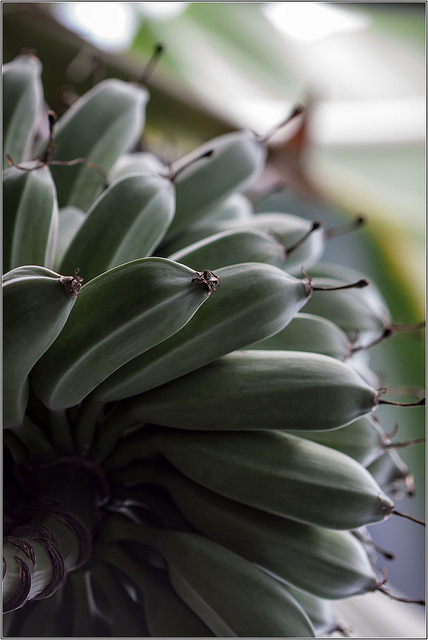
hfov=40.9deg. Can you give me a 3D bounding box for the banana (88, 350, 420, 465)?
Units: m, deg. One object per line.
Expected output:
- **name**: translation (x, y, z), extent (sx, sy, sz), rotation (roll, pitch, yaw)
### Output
- **banana**: translation (-0.018, 0.059, 0.472), extent (0.338, 0.090, 0.064), rotation (-3, 33, 5)

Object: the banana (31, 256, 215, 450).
- **banana**: translation (-0.086, 0.028, 0.444), extent (0.055, 0.207, 0.080), rotation (19, 41, -45)

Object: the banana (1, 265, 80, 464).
- **banana**: translation (-0.115, 0.028, 0.384), extent (0.045, 0.157, 0.067), rotation (1, 30, -28)

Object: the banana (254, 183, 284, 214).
- **banana**: translation (0.059, -0.133, 0.623), extent (0.010, 0.040, 0.008), rotation (41, -6, 32)

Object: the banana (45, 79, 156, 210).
- **banana**: translation (-0.092, -0.189, 0.581), extent (0.052, 0.198, 0.055), rotation (-9, -55, 38)

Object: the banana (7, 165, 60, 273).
- **banana**: translation (-0.138, -0.078, 0.456), extent (0.039, 0.085, 0.019), rotation (19, 11, -3)

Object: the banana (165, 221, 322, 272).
- **banana**: translation (0.020, -0.060, 0.498), extent (0.142, 0.046, 0.043), rotation (2, 0, 26)

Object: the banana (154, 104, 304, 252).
- **banana**: translation (0.010, -0.140, 0.554), extent (0.049, 0.217, 0.042), rotation (51, -15, 12)

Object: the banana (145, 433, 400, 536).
- **banana**: translation (0.058, 0.104, 0.446), extent (0.214, 0.061, 0.074), rotation (13, -14, -2)

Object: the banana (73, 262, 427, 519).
- **banana**: translation (0.060, 0.050, 0.503), extent (0.347, 0.183, 0.118), rotation (-10, -1, -17)
